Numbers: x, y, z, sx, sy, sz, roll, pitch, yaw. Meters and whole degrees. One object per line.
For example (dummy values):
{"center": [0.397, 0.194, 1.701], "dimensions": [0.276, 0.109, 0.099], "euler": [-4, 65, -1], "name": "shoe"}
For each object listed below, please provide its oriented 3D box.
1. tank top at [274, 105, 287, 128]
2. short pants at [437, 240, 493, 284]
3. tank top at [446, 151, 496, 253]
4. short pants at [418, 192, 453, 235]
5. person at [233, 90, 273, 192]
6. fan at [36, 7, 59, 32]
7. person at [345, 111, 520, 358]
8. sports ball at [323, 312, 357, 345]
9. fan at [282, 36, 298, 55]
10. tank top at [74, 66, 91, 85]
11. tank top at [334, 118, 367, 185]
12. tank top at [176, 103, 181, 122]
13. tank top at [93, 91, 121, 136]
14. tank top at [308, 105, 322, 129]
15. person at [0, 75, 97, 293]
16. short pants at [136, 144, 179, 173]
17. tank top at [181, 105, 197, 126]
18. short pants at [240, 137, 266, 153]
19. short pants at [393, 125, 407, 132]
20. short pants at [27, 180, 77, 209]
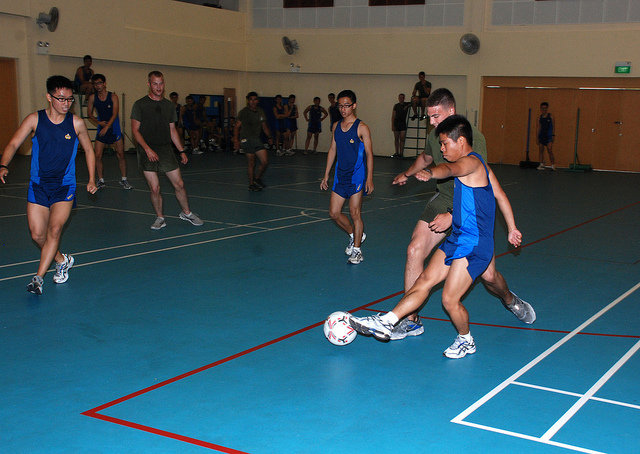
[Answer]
{"center": [-1.776, -5.048, 21.634], "dimensions": [0.523, 0.984, 1.298], "euler": [0, 13, -4], "name": "tank top"}
{"center": [1.198, 0.191, 3.981], "dimensions": [0.354, 0.272, 0.489], "euler": [-11, -2, 10], "name": "short pants"}
{"center": [1.278, -0.187, 3.954], "dimensions": [0.442, 0.908, 0.405], "euler": [-4, 3, -44], "name": "tank top"}
{"center": [1.193, -0.228, 4.694], "dimensions": [0.388, 0.108, 0.236], "euler": [34, 12, -16], "name": "short pants"}
{"center": [-1.755, -2.199, 12.217], "dimensions": [0.873, 2.478, 0.858], "euler": [-2, 12, -10], "name": "person"}
{"center": [-9.943, -7.575, 17.206], "dimensions": [0.687, 0.819, 0.576], "euler": [-7, 14, -30], "name": "fan"}
{"center": [1.089, 0.090, 3.986], "dimensions": [1.066, 2.047, 1.387], "euler": [7, 13, 27], "name": "person"}
{"center": [0.159, 0.883, 4.137], "dimensions": [0.272, 0.295, 0.279], "euler": [-13, -1, 0], "name": "sports ball"}
{"center": [-1.443, -8.556, 22.229], "dimensions": [0.350, 0.679, 0.886], "euler": [-32, 52, -32], "name": "fan"}
{"center": [-8.725, -5.557, 17.310], "dimensions": [0.645, 0.633, 0.425], "euler": [0, 12, -4], "name": "tank top"}
{"center": [0.412, -1.050, 6.548], "dimensions": [0.426, 0.887, 0.320], "euler": [1, 12, 2], "name": "tank top"}
{"center": [-5.809, -4.672, 19.461], "dimensions": [0.138, 0.677, 0.468], "euler": [-3, 12, -15], "name": "tank top"}
{"center": [-5.395, -2.670, 11.958], "dimensions": [0.580, 1.247, 0.457], "euler": [-8, -7, -17], "name": "tank top"}
{"center": [-0.232, -4.998, 21.483], "dimensions": [0.543, 1.048, 0.496], "euler": [0, 12, -2], "name": "tank top"}
{"center": [-2.994, -0.455, 5.256], "dimensions": [0.915, 2.331, 0.582], "euler": [-6, 13, -27], "name": "person"}
{"center": [-2.748, -1.159, 8.189], "dimensions": [0.723, 0.739, 0.423], "euler": [-3, 8, -5], "name": "short pants"}
{"center": [-5.685, -4.750, 20.198], "dimensions": [0.315, 0.835, 0.829], "euler": [5, 13, 21], "name": "tank top"}
{"center": [-1.742, -1.964, 12.020], "dimensions": [0.550, 0.421, 0.351], "euler": [-7, 7, -42], "name": "short pants"}
{"center": [3.431, -4.220, 20.264], "dimensions": [0.300, 0.081, 0.300], "euler": [-1, -22, 1], "name": "short pants"}
{"center": [-3.039, -0.381, 5.333], "dimensions": [0.478, 0.367, 0.284], "euler": [1, 8, -18], "name": "short pants"}
